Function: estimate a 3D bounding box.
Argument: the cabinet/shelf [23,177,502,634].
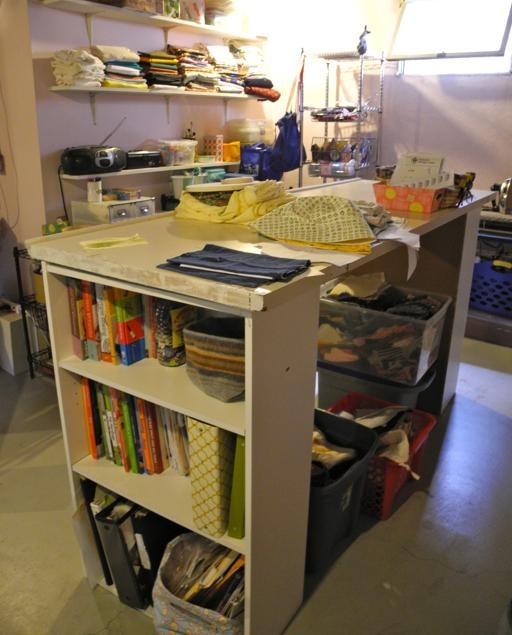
[{"bbox_3d":[0.075,0.294,1.510,0.642,0.852,1.311,19,32,30],"label":"cabinet/shelf"}]

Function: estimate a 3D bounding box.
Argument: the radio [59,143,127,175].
[{"bbox_3d":[-0.962,-0.920,3.019,0.265,0.111,0.263,-6,17,-23],"label":"radio"}]

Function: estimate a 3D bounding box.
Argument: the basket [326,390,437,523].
[{"bbox_3d":[0.516,0.527,2.046,0.349,0.202,0.492,11,16,34],"label":"basket"}]

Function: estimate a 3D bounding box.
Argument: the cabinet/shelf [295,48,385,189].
[{"bbox_3d":[0.739,-1.720,4.780,0.577,1.058,0.403,-1,29,16],"label":"cabinet/shelf"}]

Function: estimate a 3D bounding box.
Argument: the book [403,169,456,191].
[{"bbox_3d":[0.640,-0.483,1.838,0.224,0.046,0.089,4,34,22],"label":"book"}]
